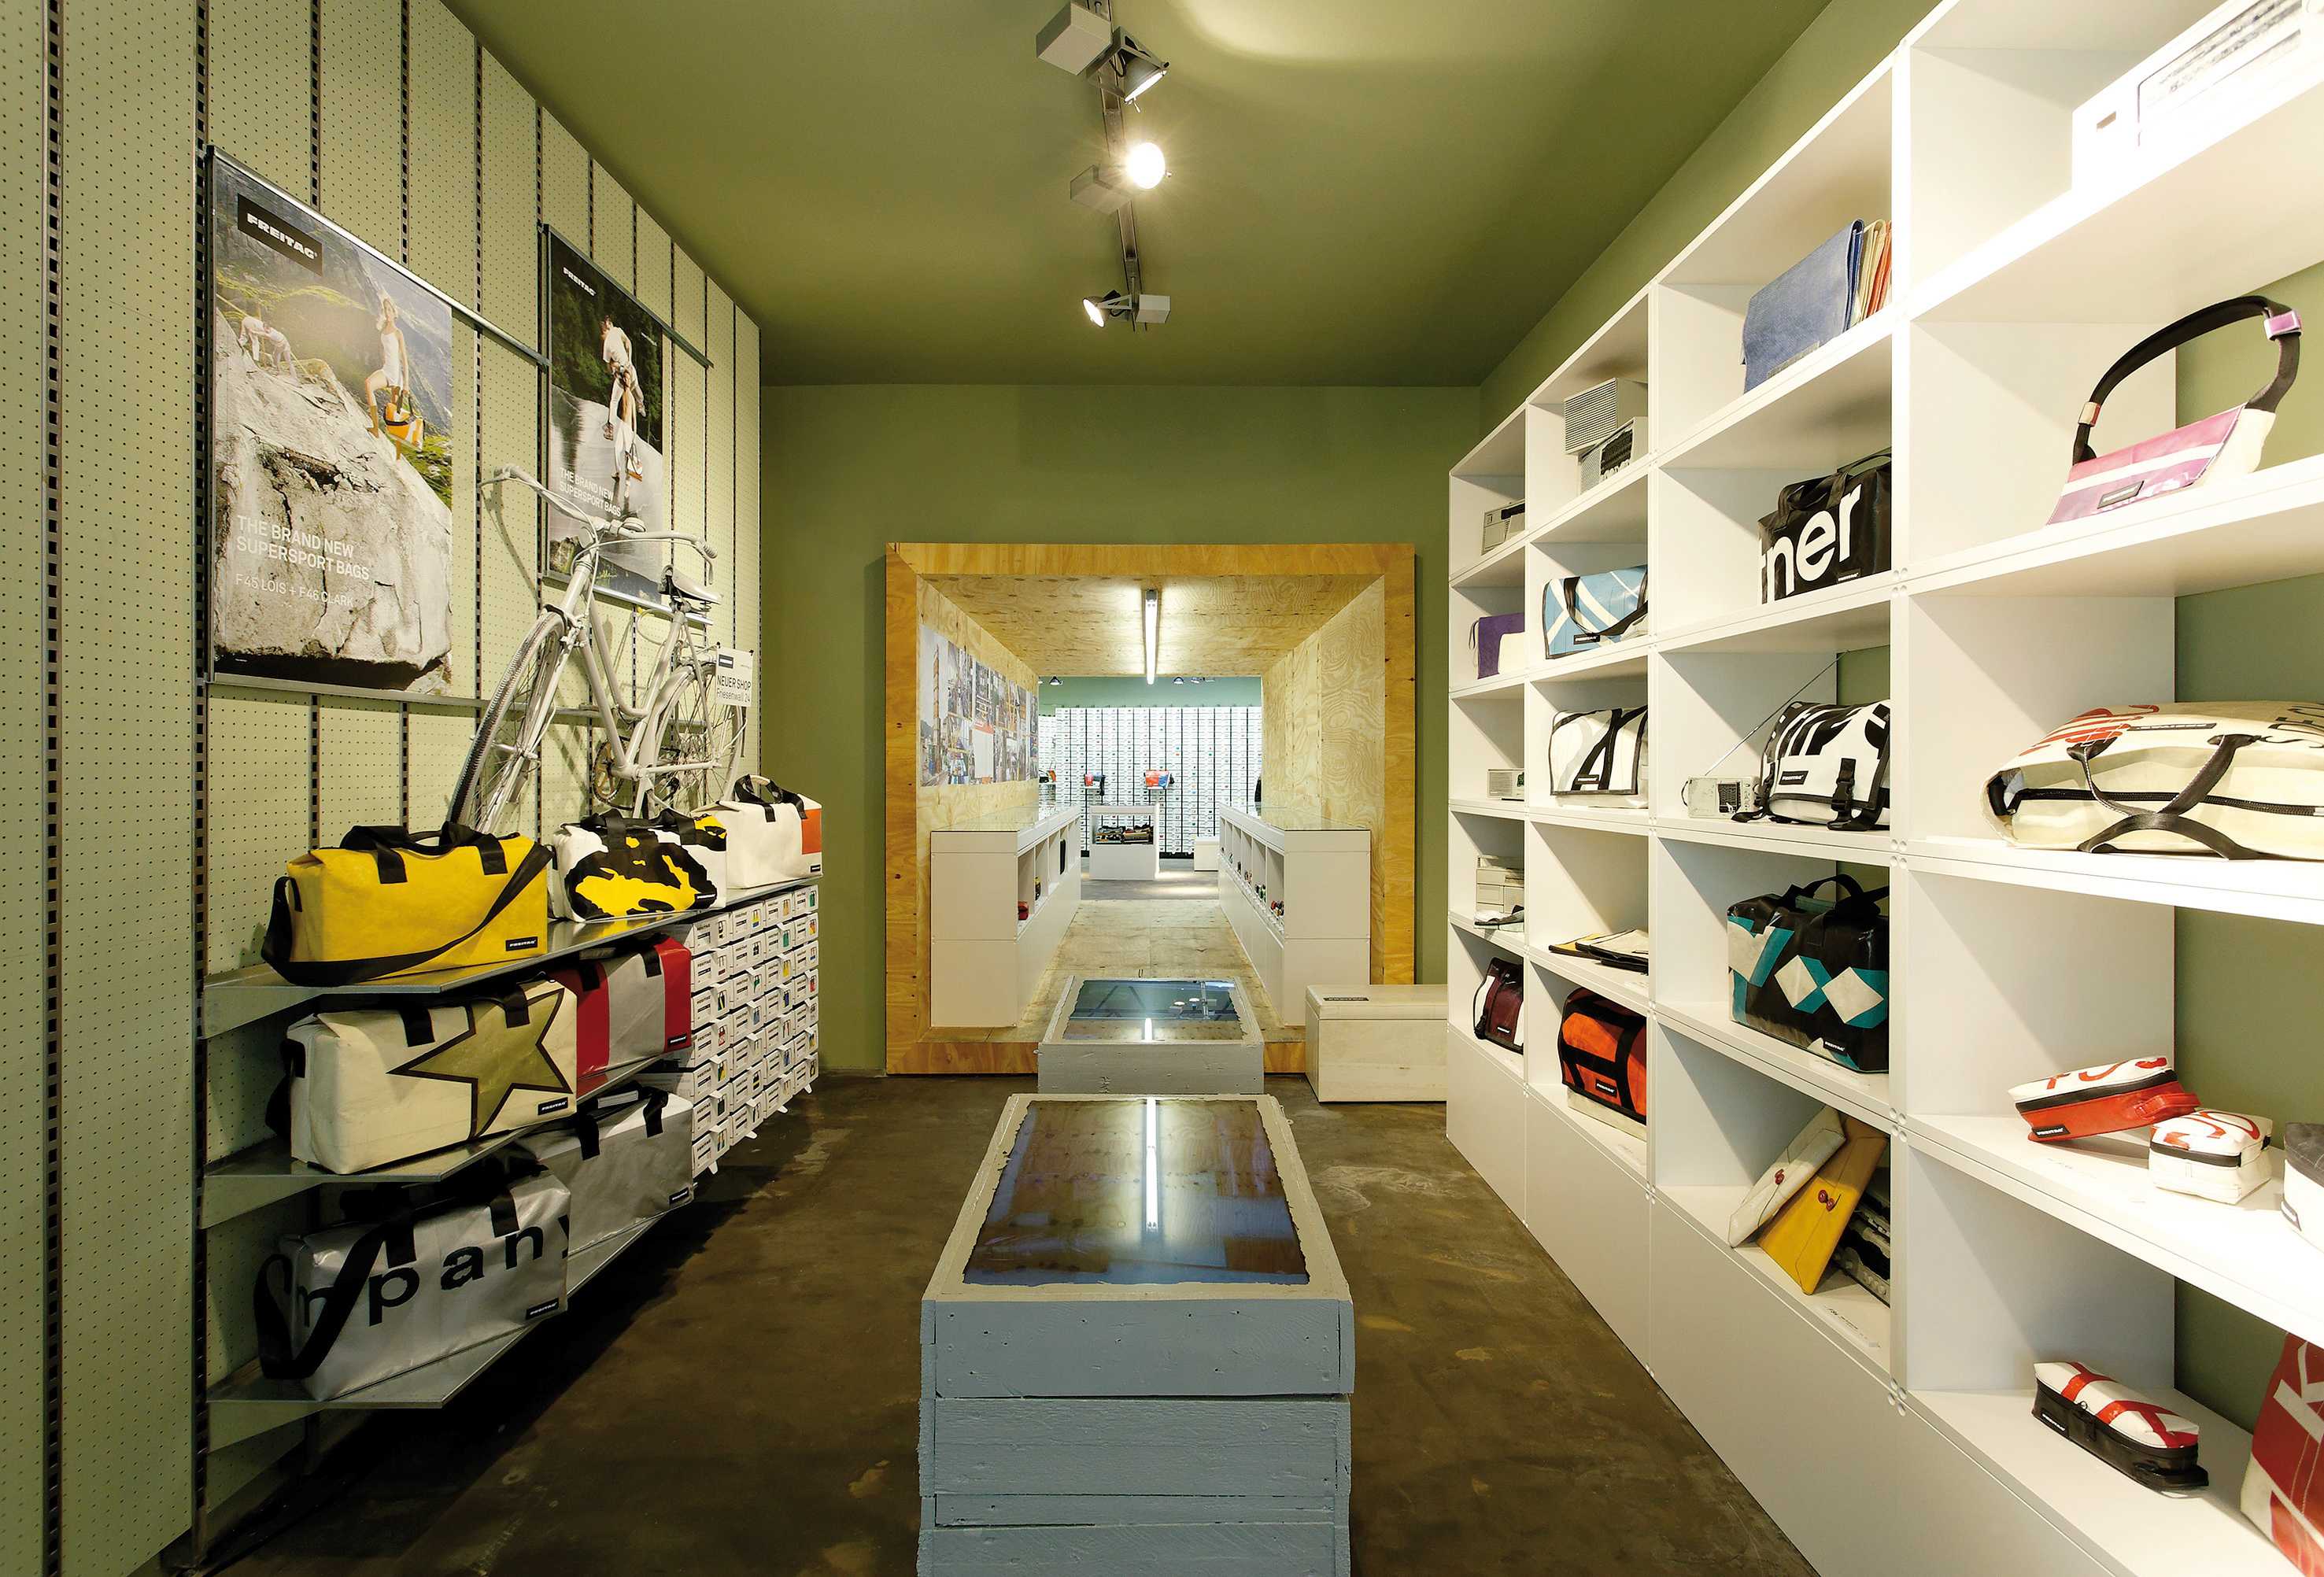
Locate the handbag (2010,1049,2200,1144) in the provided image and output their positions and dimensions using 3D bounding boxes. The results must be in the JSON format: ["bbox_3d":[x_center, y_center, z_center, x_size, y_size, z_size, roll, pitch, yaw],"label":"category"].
[{"bbox_3d":[2.097,0.699,3.335,0.256,0.104,0.251,-7,2,-27],"label":"handbag"}]

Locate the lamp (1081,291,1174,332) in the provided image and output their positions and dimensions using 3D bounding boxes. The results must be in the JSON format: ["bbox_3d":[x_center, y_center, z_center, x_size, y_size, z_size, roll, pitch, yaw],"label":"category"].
[{"bbox_3d":[-0.128,-1.710,5.336,0.271,0.110,0.398,0,13,1],"label":"lamp"}]

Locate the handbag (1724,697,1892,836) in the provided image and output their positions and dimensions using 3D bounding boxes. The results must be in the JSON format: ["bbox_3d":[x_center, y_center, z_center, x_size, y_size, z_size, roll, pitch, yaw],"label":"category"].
[{"bbox_3d":[1.713,-0.046,3.863,0.164,0.384,0.294,10,-5,-35],"label":"handbag"}]

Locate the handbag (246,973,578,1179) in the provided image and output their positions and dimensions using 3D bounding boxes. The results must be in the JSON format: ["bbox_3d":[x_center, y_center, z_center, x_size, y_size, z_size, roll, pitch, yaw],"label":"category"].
[{"bbox_3d":[-1.993,0.583,4.034,0.335,0.620,0.964,-1,0,33],"label":"handbag"}]

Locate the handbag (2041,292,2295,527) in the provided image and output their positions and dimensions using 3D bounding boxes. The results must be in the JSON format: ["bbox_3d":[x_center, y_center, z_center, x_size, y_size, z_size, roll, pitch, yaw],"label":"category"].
[{"bbox_3d":[2.221,-0.826,3.287,0.400,0.475,0.607,8,15,34],"label":"handbag"}]

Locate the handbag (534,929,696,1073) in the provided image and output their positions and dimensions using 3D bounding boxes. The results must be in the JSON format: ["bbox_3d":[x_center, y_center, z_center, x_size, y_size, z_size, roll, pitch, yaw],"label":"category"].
[{"bbox_3d":[-1.683,0.671,4.606,0.281,0.364,0.517,0,0,14],"label":"handbag"}]

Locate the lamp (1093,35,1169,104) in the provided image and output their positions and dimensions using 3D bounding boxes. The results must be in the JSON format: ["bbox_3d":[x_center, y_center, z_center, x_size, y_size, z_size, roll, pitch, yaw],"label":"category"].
[{"bbox_3d":[-0.092,-2.125,4.466,0.191,0.082,0.193,-3,4,0],"label":"lamp"}]

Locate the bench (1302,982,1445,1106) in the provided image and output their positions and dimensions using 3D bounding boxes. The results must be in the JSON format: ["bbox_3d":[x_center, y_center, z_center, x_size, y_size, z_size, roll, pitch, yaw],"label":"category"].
[{"bbox_3d":[0.962,1.132,6.627,0.482,0.299,0.472,0,-5,0],"label":"bench"}]

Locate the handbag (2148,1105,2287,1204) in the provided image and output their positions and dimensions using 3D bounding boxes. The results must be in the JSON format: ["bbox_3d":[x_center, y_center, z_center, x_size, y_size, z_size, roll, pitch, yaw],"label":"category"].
[{"bbox_3d":[2.259,0.774,3.205,0.241,0.158,0.172,-1,1,-41],"label":"handbag"}]
